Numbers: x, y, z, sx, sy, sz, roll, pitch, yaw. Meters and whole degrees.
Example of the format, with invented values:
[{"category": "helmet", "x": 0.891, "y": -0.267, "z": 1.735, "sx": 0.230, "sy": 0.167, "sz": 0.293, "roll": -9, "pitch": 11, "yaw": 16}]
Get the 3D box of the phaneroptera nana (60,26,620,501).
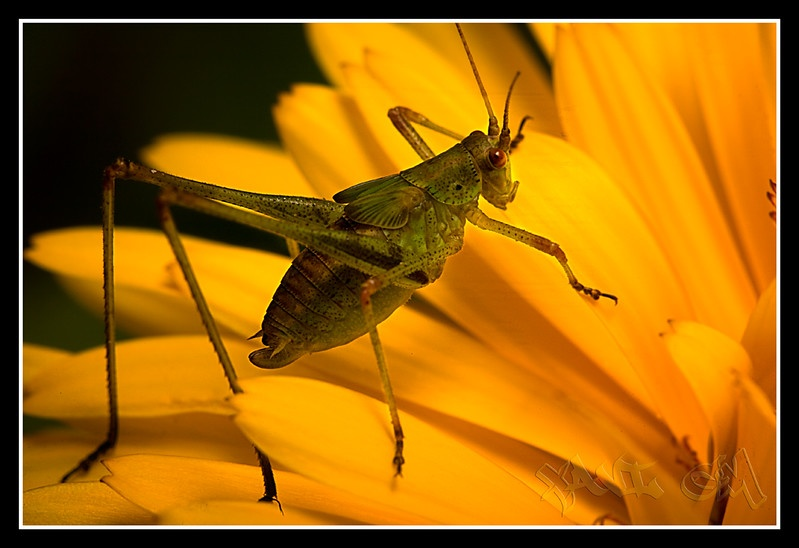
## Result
[{"category": "phaneroptera nana", "x": -0.098, "y": -0.156, "z": 3.268, "sx": 1.234, "sy": 2.217, "sz": 1.157, "roll": 40, "pitch": -18, "yaw": 45}]
